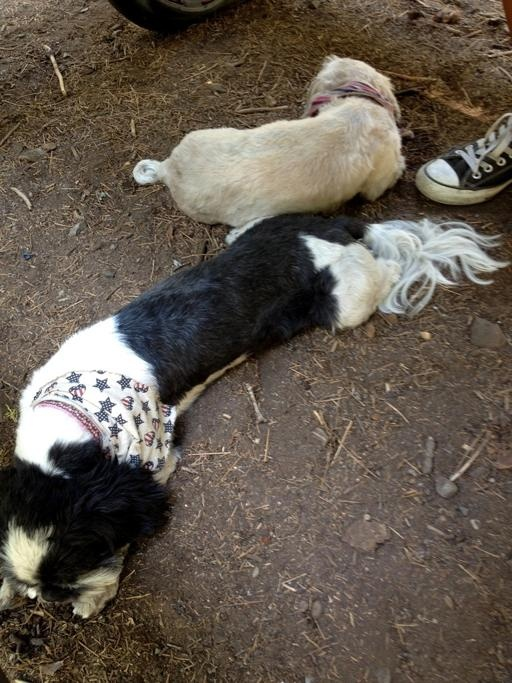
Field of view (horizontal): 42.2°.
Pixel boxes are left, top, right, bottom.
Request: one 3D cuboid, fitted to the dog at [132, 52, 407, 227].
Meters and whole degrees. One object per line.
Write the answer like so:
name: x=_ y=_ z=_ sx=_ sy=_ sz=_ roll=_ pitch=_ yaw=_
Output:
dog: x=0.206 y=-1.026 z=3.874 sx=1.583 sy=0.550 sz=0.887 roll=-12 pitch=61 yaw=-2
